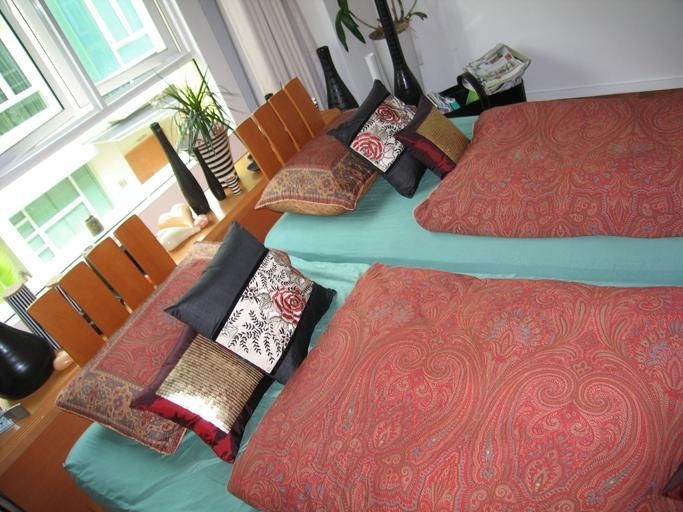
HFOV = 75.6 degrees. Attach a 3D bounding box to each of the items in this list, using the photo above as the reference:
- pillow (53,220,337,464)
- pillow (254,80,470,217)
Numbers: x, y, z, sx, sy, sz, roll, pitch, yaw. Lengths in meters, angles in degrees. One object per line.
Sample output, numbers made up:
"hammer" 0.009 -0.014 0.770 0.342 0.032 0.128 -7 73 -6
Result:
"pillow" -0.465 0.480 1.808 0.815 0.268 0.900 30 77 42
"pillow" 0.092 -0.518 2.328 0.782 0.283 0.796 4 47 22
